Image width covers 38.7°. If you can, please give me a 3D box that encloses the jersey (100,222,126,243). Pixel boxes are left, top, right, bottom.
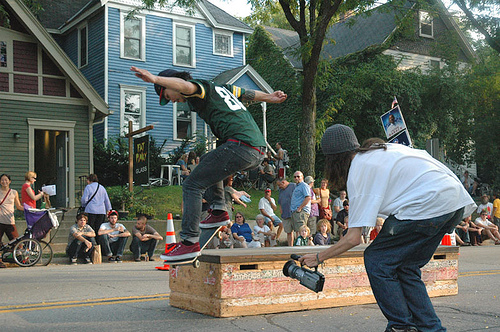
[{"bbox_3d":[-4.857,2.318,25.111,0.821,0.721,0.316,-6,13,-19],"label":"jersey"}]

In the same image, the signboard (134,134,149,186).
[{"bbox_3d":[-4.681,-0.299,30.353,0.659,2.124,1.650,-8,14,-22],"label":"signboard"}]

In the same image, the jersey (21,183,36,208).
[{"bbox_3d":[-7.662,0.998,24.548,0.403,0.781,0.654,-7,13,-21],"label":"jersey"}]

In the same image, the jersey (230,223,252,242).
[{"bbox_3d":[-0.300,2.343,25.312,0.738,0.628,0.353,-2,13,1],"label":"jersey"}]

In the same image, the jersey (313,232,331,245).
[{"bbox_3d":[2.591,2.545,24.659,0.517,0.487,0.341,6,-10,-25],"label":"jersey"}]

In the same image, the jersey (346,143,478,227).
[{"bbox_3d":[3.587,0.427,16.559,2.702,1.764,0.670,-3,13,-4],"label":"jersey"}]

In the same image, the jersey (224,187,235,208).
[{"bbox_3d":[-0.708,1.129,24.186,0.331,0.821,1.008,-1,12,5],"label":"jersey"}]

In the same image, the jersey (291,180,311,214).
[{"bbox_3d":[1.786,1.098,24.943,0.707,1.167,1.135,4,-5,-17],"label":"jersey"}]

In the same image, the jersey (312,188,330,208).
[{"bbox_3d":[2.678,1.140,26.212,0.382,0.750,0.740,7,16,36],"label":"jersey"}]

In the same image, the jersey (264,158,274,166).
[{"bbox_3d":[0.962,-0.217,34.333,0.333,0.333,0.245,-10,3,0],"label":"jersey"}]

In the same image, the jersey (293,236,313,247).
[{"bbox_3d":[1.796,2.507,23.667,0.566,0.571,0.386,4,0,14],"label":"jersey"}]

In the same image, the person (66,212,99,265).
[{"bbox_3d":[-5.885,2.499,24.673,1.011,1.705,0.551,-6,13,-16],"label":"person"}]

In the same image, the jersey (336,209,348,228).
[{"bbox_3d":[3.401,1.969,26.706,0.414,0.724,0.758,0,-2,24],"label":"jersey"}]

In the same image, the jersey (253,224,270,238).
[{"bbox_3d":[0.427,2.382,25.969,0.365,0.204,0.333,-20,50,-28],"label":"jersey"}]

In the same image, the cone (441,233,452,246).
[{"bbox_3d":[6.389,2.359,23.113,0.292,0.367,0.453,1,13,15],"label":"cone"}]

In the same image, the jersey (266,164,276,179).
[{"bbox_3d":[0.973,0.259,33.570,0.395,0.739,0.777,-1,12,3],"label":"jersey"}]

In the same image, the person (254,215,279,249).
[{"bbox_3d":[0.558,2.588,26.004,0.653,1.509,0.900,-8,-3,-30],"label":"person"}]
